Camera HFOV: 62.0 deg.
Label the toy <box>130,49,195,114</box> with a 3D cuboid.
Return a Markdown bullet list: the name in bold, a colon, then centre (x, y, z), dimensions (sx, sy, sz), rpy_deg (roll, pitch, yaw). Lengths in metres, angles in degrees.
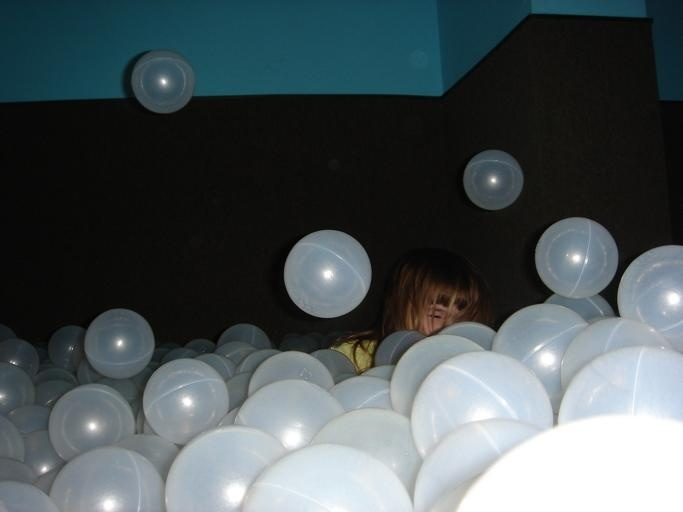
- **toy**: centre (-1.008, -0.978, 3.187), dimensions (0.325, 0.136, 0.335), rpy_deg (8, -79, -8)

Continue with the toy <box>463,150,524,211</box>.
- **toy**: centre (0.918, -0.454, 3.412), dimensions (0.305, 0.176, 0.384), rpy_deg (10, -85, 1)
